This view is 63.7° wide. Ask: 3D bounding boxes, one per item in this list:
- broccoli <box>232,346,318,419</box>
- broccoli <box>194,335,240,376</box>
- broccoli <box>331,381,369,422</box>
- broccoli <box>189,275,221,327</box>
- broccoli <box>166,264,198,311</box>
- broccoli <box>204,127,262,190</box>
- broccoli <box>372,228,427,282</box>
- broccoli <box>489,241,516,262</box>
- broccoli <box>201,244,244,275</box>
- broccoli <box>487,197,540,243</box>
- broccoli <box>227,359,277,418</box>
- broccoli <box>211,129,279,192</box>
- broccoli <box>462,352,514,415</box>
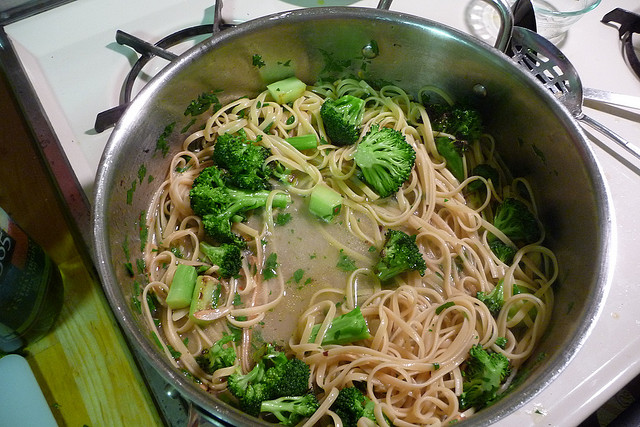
[{"bbox_3d":[-0.262,0.972,2.975,0.380,0.146,0.414,0,75,-2],"label":"broccoli"},{"bbox_3d":[-0.581,0.790,3.029,0.212,0.078,0.313,24,37,3],"label":"broccoli"},{"bbox_3d":[0.177,1.069,2.935,0.157,0.099,0.195,3,75,2],"label":"broccoli"},{"bbox_3d":[-0.716,0.526,3.106,0.142,0.066,0.293,15,78,-19],"label":"broccoli"},{"bbox_3d":[-0.828,0.451,3.109,0.130,0.124,0.258,13,66,7],"label":"broccoli"},{"bbox_3d":[-0.545,-0.349,3.319,0.382,0.221,0.329,4,51,10],"label":"broccoli"},{"bbox_3d":[0.462,0.272,3.186,0.305,0.290,0.298,-34,67,-4],"label":"broccoli"},{"bbox_3d":[1.161,0.226,3.250,0.124,0.043,0.131,-3,69,3],"label":"broccoli"},{"bbox_3d":[-0.636,0.248,3.195,0.270,0.164,0.154,23,105,-5],"label":"broccoli"},{"bbox_3d":[1.251,0.031,3.368,0.254,0.266,0.275,-16,109,13],"label":"broccoli"},{"bbox_3d":[-0.391,0.979,2.881,0.223,0.138,0.274,7,79,-19],"label":"broccoli"},{"bbox_3d":[-0.485,-0.330,3.297,0.386,0.187,0.356,-2,77,-20],"label":"broccoli"},{"bbox_3d":[0.953,0.956,2.934,0.223,0.087,0.338,28,85,19],"label":"broccoli"}]
